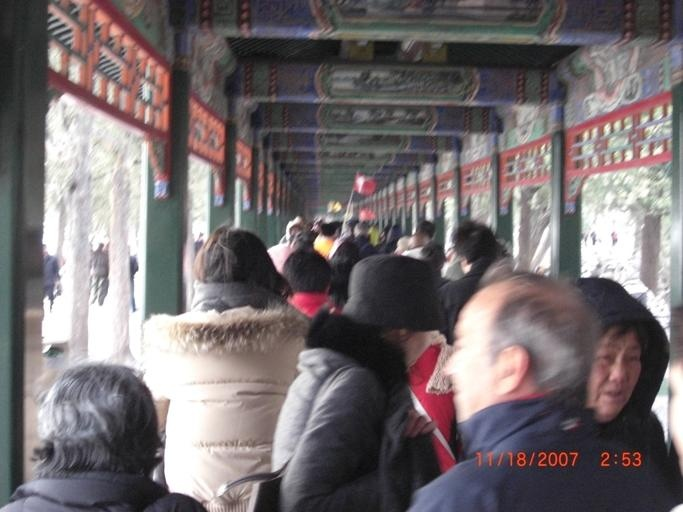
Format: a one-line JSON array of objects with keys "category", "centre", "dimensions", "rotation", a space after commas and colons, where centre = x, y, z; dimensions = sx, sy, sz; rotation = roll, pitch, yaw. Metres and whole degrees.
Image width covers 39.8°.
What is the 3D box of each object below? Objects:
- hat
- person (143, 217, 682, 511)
[{"category": "hat", "centre": [0.194, 0.130, 3.519], "dimensions": [0.362, 0.196, 0.239], "rotation": [9, 0, 17]}, {"category": "person", "centre": [0.308, 0.335, 4.130], "dimensions": [1.242, 0.674, 1.637], "rotation": [0, -2, 40]}]
